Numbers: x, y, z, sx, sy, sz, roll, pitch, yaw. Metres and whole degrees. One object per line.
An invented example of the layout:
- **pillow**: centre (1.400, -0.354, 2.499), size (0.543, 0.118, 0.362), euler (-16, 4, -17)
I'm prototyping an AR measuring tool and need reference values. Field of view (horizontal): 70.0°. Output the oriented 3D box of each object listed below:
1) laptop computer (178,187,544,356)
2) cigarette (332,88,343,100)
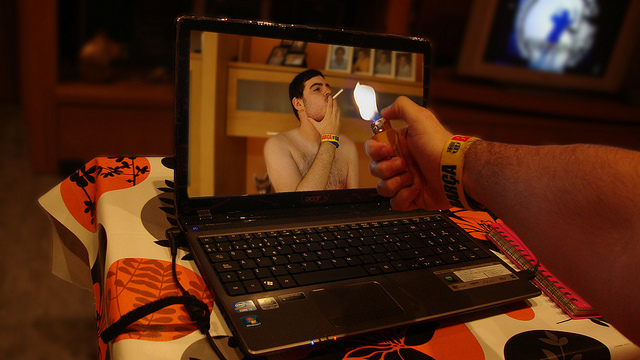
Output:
- **laptop computer**: centre (0.055, 0.217, 1.190), size (0.748, 0.070, 0.440), euler (-8, 39, -20)
- **cigarette**: centre (0.050, -0.246, 1.314), size (0.006, 0.048, 0.007), euler (51, 1, 2)
